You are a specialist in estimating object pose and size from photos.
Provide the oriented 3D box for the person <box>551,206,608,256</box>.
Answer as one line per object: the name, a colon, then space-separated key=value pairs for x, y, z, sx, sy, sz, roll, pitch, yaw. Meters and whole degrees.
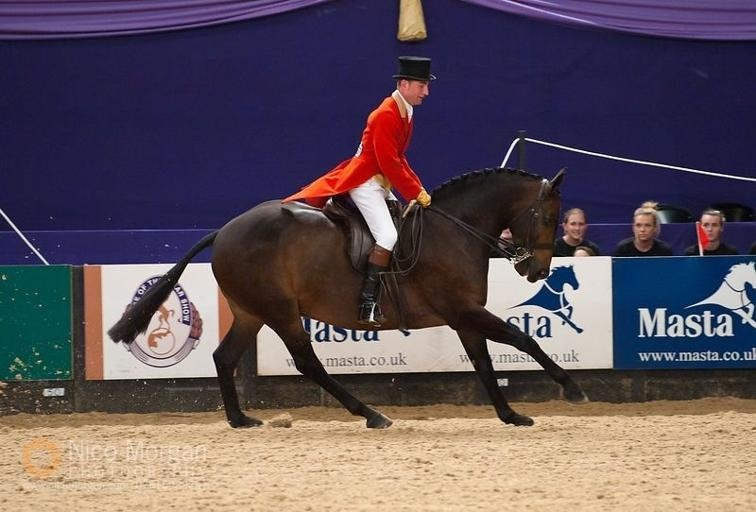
person: x=2.555 y=-0.248 z=16.233 sx=0.885 sy=0.705 sz=0.614 roll=0 pitch=-7 yaw=1

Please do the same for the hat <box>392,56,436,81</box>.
hat: x=0.409 y=-2.142 z=14.484 sx=0.458 sy=0.183 sz=0.503 roll=2 pitch=10 yaw=-1

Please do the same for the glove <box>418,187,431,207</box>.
glove: x=0.540 y=-0.676 z=14.383 sx=0.159 sy=0.189 sz=0.075 roll=-20 pitch=-3 yaw=23

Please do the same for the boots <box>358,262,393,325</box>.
boots: x=-0.065 y=0.459 z=14.267 sx=0.320 sy=0.729 sz=0.155 roll=-4 pitch=6 yaw=-34

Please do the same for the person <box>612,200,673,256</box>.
person: x=3.452 y=-0.316 z=16.043 sx=0.907 sy=0.775 sz=0.625 roll=1 pitch=-4 yaw=13

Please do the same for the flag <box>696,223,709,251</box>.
flag: x=4.209 y=-0.225 z=16.040 sx=0.138 sy=0.380 sz=0.580 roll=0 pitch=5 yaw=16

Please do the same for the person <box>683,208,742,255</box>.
person: x=4.312 y=-0.281 z=16.037 sx=0.655 sy=0.572 sz=1.026 roll=0 pitch=4 yaw=13
